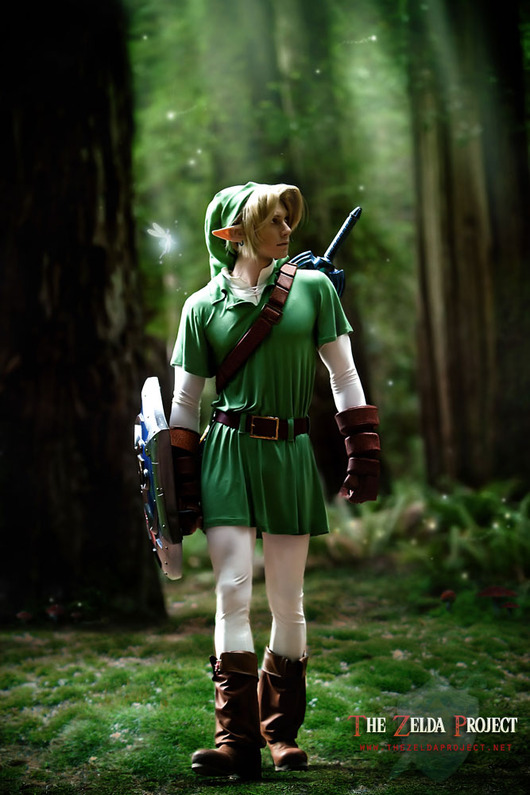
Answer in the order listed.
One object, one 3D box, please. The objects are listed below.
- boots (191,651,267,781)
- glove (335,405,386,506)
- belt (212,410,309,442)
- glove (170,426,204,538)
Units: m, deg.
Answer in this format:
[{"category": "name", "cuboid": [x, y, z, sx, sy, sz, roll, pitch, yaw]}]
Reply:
[{"category": "boots", "cuboid": [-0.119, 1.007, 2.449, 0.208, 0.395, 0.153, -1, 9, -1]}, {"category": "glove", "cuboid": [0.324, 0.204, 2.717, 0.153, 0.361, 0.254, 0, 8, 5]}, {"category": "belt", "cuboid": [-0.019, 0.093, 2.707, 0.336, 0.107, 0.159, 0, 8, -1]}, {"category": "glove", "cuboid": [-0.272, 0.288, 2.692, 0.102, 0.366, 0.181, -1, 9, -5]}]
